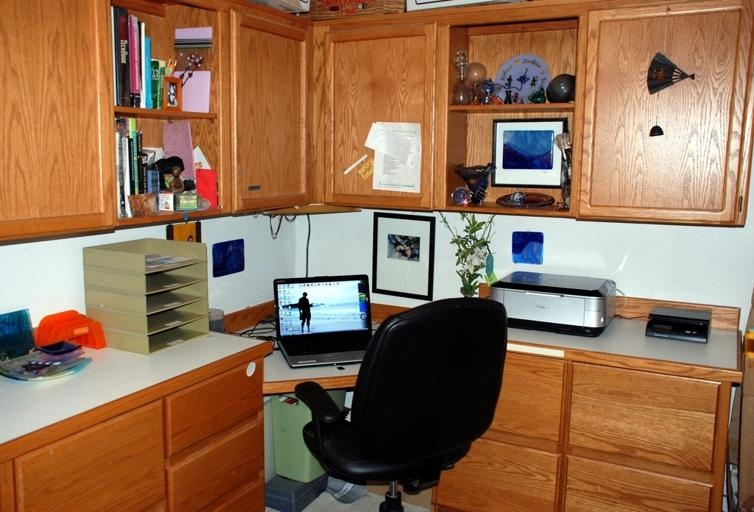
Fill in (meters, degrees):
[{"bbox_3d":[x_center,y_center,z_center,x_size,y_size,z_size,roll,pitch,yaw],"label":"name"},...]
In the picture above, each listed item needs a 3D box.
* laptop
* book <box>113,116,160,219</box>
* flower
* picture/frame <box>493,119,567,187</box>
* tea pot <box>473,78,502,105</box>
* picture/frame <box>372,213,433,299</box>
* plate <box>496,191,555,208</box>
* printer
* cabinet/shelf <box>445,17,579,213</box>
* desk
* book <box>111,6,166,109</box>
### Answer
[{"bbox_3d":[-0.271,0.313,2.956,0.551,0.346,0.438,0,4,-10],"label":"laptop"},{"bbox_3d":[-1.048,-0.380,2.389,0.111,0.414,0.219,1,13,8],"label":"book"},{"bbox_3d":[0.531,-0.009,3.281,0.321,0.474,0.202,0,13,5],"label":"flower"},{"bbox_3d":[0.864,-0.579,3.075,0.416,0.367,0.028,2,6,18],"label":"picture/frame"},{"bbox_3d":[0.580,-0.867,2.937,0.148,0.139,0.120,3,14,15],"label":"tea pot"},{"bbox_3d":[0.177,-0.012,3.454,0.531,0.604,0.027,4,6,25],"label":"picture/frame"},{"bbox_3d":[0.832,-0.309,3.006,0.329,0.075,0.214,-11,17,-37],"label":"plate"},{"bbox_3d":[0.934,0.248,2.959,0.622,0.244,0.322,4,14,21],"label":"printer"},{"bbox_3d":[0.688,-0.742,2.978,0.685,0.964,0.420,3,14,16],"label":"cabinet/shelf"},{"bbox_3d":[-0.217,0.726,2.597,0.615,0.701,1.154,7,10,35],"label":"desk"},{"bbox_3d":[-1.028,-0.832,2.350,0.084,0.395,0.233,3,14,15],"label":"book"}]
